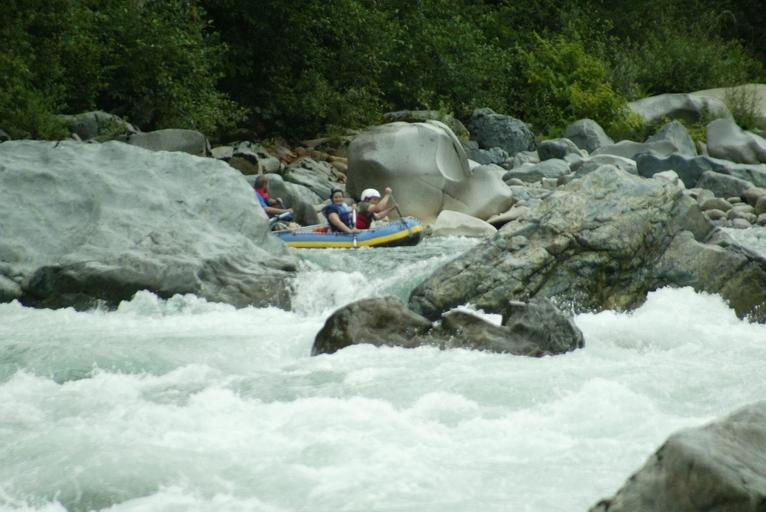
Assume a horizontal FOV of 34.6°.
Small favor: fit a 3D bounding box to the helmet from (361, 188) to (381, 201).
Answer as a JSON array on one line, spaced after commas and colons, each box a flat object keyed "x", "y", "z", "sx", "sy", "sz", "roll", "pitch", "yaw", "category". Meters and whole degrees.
[{"x": -0.324, "y": -1.512, "z": 31.870, "sx": 0.464, "sy": 0.366, "sz": 0.389, "roll": -1, "pitch": 18, "yaw": 5, "category": "helmet"}]

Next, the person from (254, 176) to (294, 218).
[{"x": -2.872, "y": -1.426, "z": 31.386, "sx": 0.941, "sy": 1.308, "sz": 1.184, "roll": -6, "pitch": 19, "yaw": -2, "category": "person"}]

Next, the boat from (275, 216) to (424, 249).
[{"x": -0.741, "y": -0.415, "z": 30.772, "sx": 2.736, "sy": 0.472, "sz": 1.325, "roll": -2, "pitch": 0, "yaw": -3, "category": "boat"}]
